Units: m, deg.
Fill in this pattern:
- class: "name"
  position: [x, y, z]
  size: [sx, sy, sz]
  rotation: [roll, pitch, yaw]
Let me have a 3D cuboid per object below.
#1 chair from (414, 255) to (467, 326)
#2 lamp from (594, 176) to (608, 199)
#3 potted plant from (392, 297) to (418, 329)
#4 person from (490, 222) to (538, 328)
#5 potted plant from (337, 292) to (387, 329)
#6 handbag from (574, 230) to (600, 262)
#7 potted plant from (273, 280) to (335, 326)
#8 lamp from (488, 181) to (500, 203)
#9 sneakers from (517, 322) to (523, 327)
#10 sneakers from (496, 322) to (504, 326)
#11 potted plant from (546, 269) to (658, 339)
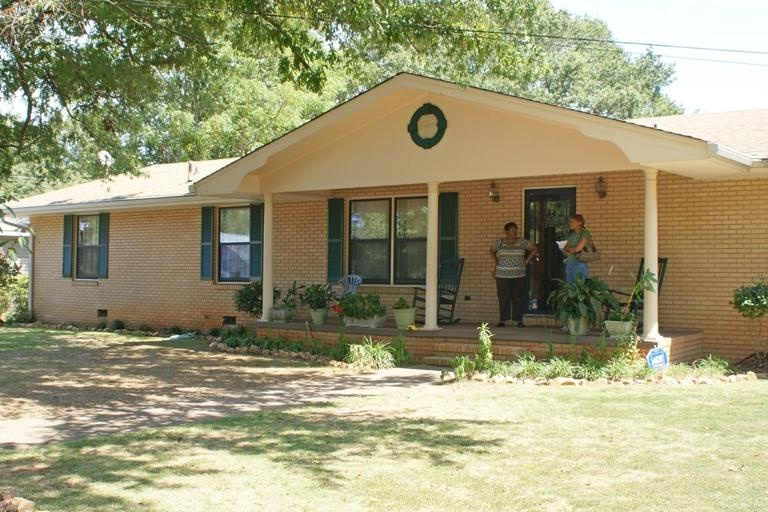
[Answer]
- class: "chair"
  position: [1.244, 0.816, 17.675]
  size: [1.163, 1.442, 1.403]
  rotation: [0, 9, 5]
- class: "lamp"
  position: [4.753, -1.489, 16.922]
  size: [0.260, 0.487, 0.149]
  rotation: [2, 9, 16]
- class: "potted plant"
  position: [0.444, 1.290, 16.881]
  size: [0.599, 0.642, 0.587]
  rotation: [0, -7, 1]
- class: "person"
  position: [2.802, 0.406, 16.762]
  size: [0.897, 2.239, 0.761]
  rotation: [0, 9, 7]
- class: "potted plant"
  position: [-0.410, 1.210, 17.147]
  size: [0.826, 0.565, 0.838]
  rotation: [-2, -6, 28]
- class: "handbag"
  position: [4.103, -0.188, 15.744]
  size: [0.245, 0.628, 0.696]
  rotation: [-7, -5, 37]
- class: "potted plant"
  position: [-1.930, 1.114, 18.572]
  size: [1.403, 0.614, 0.925]
  rotation: [-3, -4, 37]
- class: "lamp"
  position: [2.530, -1.463, 17.841]
  size: [0.256, 0.480, 0.228]
  rotation: [3, 9, 20]
- class: "sneakers"
  position: [2.936, 1.486, 16.694]
  size: [0.160, 0.152, 0.080]
  rotation: [3, -7, 14]
- class: "sneakers"
  position: [2.503, 1.468, 16.644]
  size: [0.103, 0.079, 0.125]
  rotation: [5, -11, -32]
- class: "potted plant"
  position: [4.187, 0.917, 15.039]
  size: [1.792, 0.911, 1.106]
  rotation: [-2, 21, -3]
